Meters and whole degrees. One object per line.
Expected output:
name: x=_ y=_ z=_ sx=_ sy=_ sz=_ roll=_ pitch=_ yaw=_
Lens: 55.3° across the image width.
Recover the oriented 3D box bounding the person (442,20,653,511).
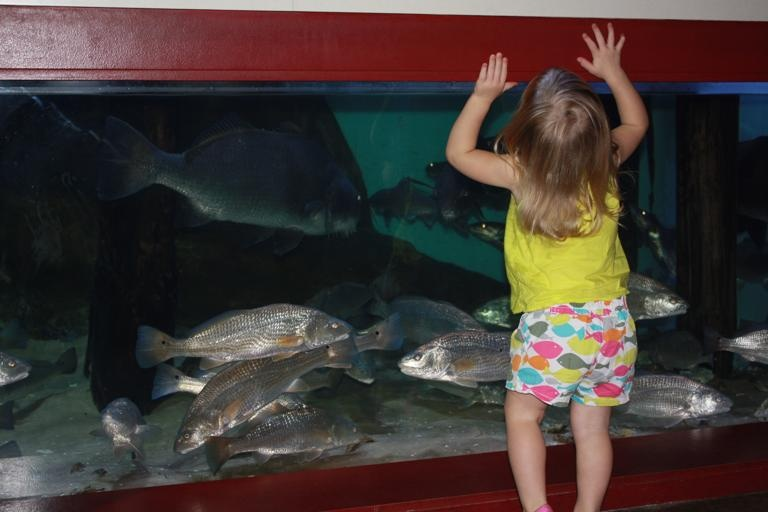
person: x=0.560 y=0.074 z=2.544 sx=0.443 sy=1.598 sz=0.416 roll=-7 pitch=5 yaw=-35
